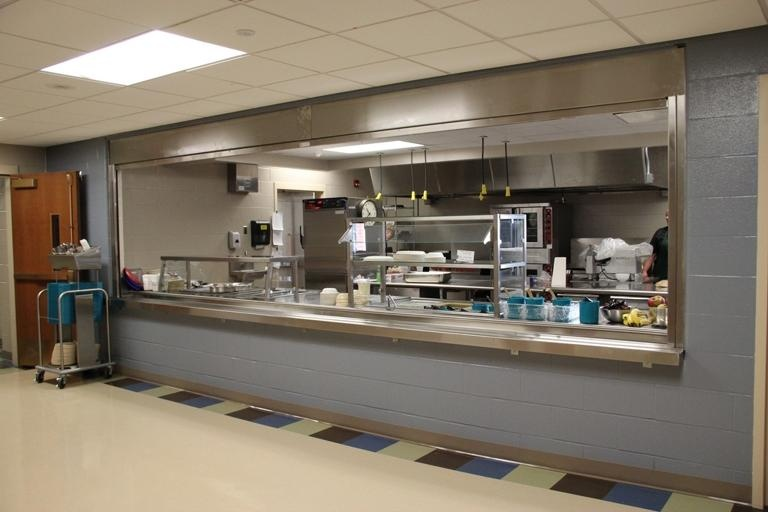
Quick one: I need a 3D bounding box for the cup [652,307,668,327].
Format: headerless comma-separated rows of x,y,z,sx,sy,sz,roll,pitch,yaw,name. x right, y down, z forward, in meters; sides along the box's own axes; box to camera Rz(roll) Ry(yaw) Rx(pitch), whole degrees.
2.276,0.494,4.609,0.092,0.170,0.171,-4,9,-14,cup

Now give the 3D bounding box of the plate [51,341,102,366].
-4.107,1.286,7.382,0.419,0.254,0.390,2,-1,10,plate

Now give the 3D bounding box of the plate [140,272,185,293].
-2.937,0.322,7.547,0.578,0.269,0.367,3,6,20,plate

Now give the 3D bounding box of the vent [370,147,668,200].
1.919,-1.245,9.049,4.921,0.588,0.812,3,0,39,vent

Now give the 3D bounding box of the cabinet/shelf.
0.514,0.049,5.632,1.759,0.971,0.696,3,10,29,cabinet/shelf

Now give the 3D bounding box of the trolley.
-4.150,1.029,7.500,0.918,1.233,0.907,-4,-3,33,trolley

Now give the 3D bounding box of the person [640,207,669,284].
3.621,-0.016,7.459,0.220,0.729,0.447,-3,9,-3,person
